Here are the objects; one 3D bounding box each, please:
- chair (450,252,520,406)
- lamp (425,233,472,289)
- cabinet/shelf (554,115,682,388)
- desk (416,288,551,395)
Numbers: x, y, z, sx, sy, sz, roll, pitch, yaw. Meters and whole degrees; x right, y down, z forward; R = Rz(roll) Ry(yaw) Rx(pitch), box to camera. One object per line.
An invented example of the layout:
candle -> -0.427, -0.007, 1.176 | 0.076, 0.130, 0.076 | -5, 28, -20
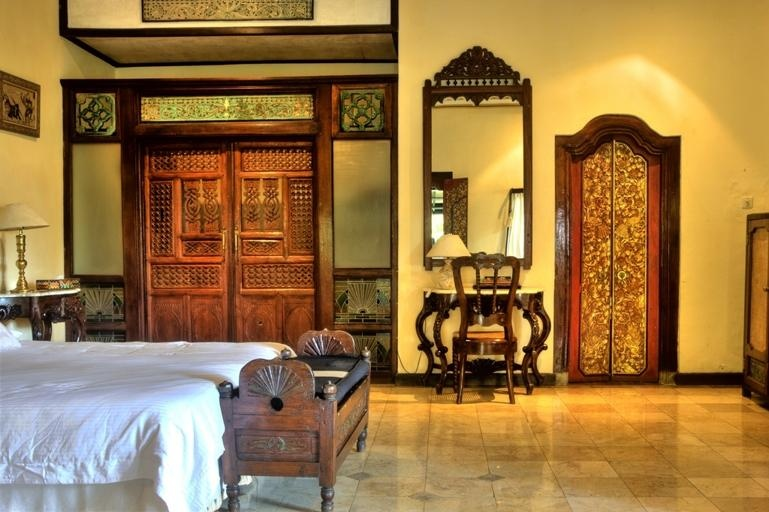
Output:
chair -> 0.995, 0.657, 6.973 | 0.669, 1.472, 0.815 | 1, 10, 8
lamp -> 0.650, 0.061, 7.167 | 0.526, 0.545, 0.516 | 0, 2, -3
cabinet/shelf -> 2.407, -0.077, 7.322 | 1.285, 2.754, 0.412 | 1, 10, 6
desk -> 0.989, 0.867, 7.408 | 1.573, 1.103, 0.994 | 0, -5, 4
